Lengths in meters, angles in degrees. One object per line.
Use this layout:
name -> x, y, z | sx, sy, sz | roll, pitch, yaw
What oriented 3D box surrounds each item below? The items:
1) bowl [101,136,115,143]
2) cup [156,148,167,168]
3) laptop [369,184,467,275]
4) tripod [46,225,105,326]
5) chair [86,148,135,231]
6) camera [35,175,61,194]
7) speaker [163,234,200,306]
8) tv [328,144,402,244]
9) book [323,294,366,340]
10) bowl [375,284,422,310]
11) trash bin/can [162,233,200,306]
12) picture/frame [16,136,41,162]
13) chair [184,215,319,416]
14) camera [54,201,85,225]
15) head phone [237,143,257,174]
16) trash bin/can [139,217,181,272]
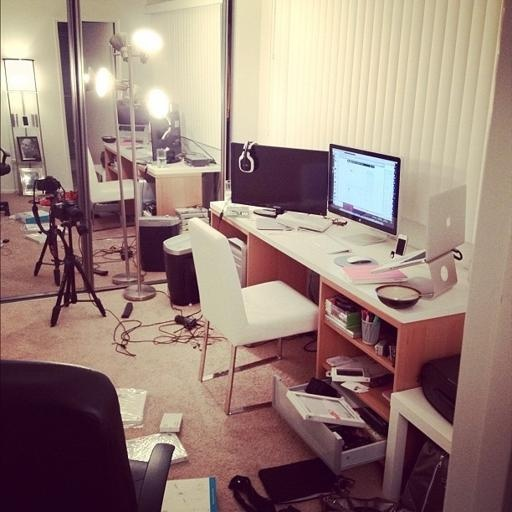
bowl -> -1.261, -0.995, 3.964 | 0.071, 0.033, 0.077 | 4, 1, 0
cup -> -0.904, -0.927, 4.413 | 0.121, 0.235, 0.136 | -3, 19, -15
laptop -> 0.707, -0.107, 1.995 | 0.342, 0.383, 0.282 | -16, 22, -34
tripod -> -1.344, 0.125, 3.372 | 0.379, 0.639, 0.461 | -10, 19, -21
chair -> -1.262, -0.615, 4.225 | 0.407, 0.852, 0.437 | -5, 35, -12
camera -> -1.499, -0.528, 3.344 | 0.144, 0.084, 0.113 | 10, 20, 17
speaker -> -0.540, 0.112, 3.363 | 0.270, 0.525, 0.300 | -13, 25, -20
tv -> 0.599, -0.354, 2.546 | 0.129, 0.351, 0.451 | -12, 30, -25
book -> 0.415, 0.287, 2.187 | 0.163, 0.060, 0.124 | 29, 8, -26
bowl -> 0.570, 0.156, 1.884 | 0.171, 0.051, 0.220 | 2, 20, 17
trash bin/can -> -0.546, 0.115, 3.378 | 0.272, 0.528, 0.299 | -13, 26, -20
picture/frame -> -1.677, -0.793, 3.404 | 0.145, 0.217, 0.014 | -10, 23, -28
chair -> -0.011, 0.299, 2.528 | 0.565, 1.014, 0.549 | -12, 21, -29
camera -> -1.253, -0.297, 3.109 | 0.118, 0.115, 0.214 | -11, 30, -31
head phone -> -0.060, -0.627, 2.963 | 0.081, 0.184, 0.152 | 9, 18, 13
trash bin/can -> -0.852, -0.138, 4.263 | 0.401, 0.512, 0.392 | 0, 13, -4
